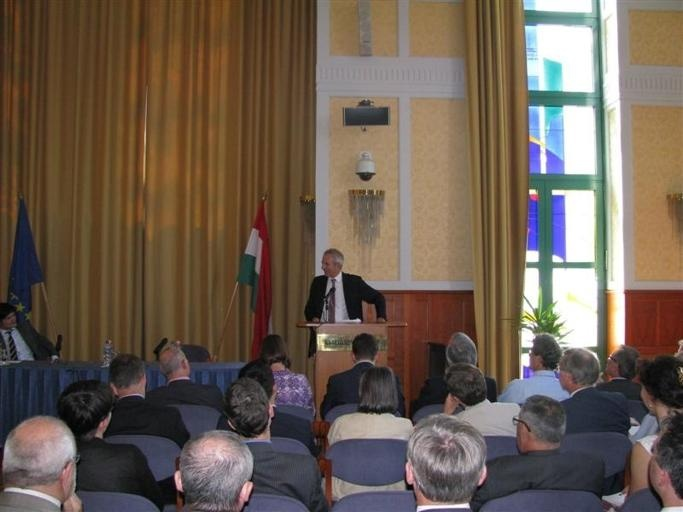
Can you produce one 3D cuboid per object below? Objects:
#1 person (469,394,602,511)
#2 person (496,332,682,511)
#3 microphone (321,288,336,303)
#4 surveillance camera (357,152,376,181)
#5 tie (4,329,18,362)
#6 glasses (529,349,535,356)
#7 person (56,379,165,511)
[{"bbox_3d":[1.507,1.572,8.562,1.349,1.128,0.698,-1,-1,-10],"label":"person"},{"bbox_3d":[2.149,1.434,9.289,1.006,1.622,1.168,-1,-3,7],"label":"person"},{"bbox_3d":[-0.145,0.418,11.296,0.139,0.165,0.512,-1,0,9],"label":"microphone"},{"bbox_3d":[0.280,-1.059,12.493,0.257,0.441,0.275,0,-6,-2],"label":"surveillance camera"},{"bbox_3d":[-3.644,0.963,11.487,0.116,0.312,0.184,2,3,40],"label":"tie"},{"bbox_3d":[1.809,0.913,9.998,0.052,0.065,0.071,4,6,9],"label":"glasses"},{"bbox_3d":[-1.862,1.541,8.397,0.808,1.259,0.669,0,18,2],"label":"person"}]
